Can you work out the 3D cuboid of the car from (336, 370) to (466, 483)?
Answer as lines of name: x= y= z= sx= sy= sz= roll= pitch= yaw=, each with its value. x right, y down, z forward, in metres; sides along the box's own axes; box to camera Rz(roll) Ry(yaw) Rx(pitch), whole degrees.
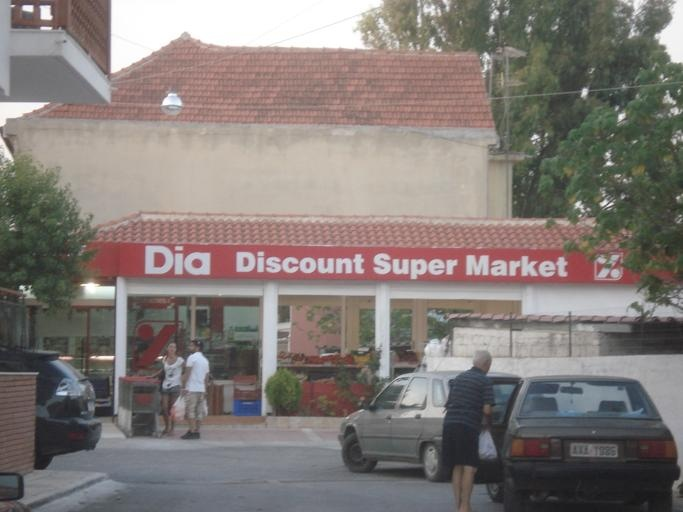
car: x=1.329 y=3.616 z=26.069 sx=1.650 sy=1.644 sz=2.787 roll=4 pitch=-3 yaw=-37

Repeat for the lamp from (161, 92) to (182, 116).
lamp: x=-5.489 y=-4.968 z=38.632 sx=0.635 sy=0.491 sz=0.946 roll=-1 pitch=-8 yaw=-9

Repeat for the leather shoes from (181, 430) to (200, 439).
leather shoes: x=-3.903 y=4.570 z=30.886 sx=0.496 sy=0.227 sz=0.188 roll=2 pitch=-2 yaw=-7

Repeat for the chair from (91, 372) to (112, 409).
chair: x=-6.616 y=3.748 z=33.178 sx=0.756 sy=1.008 sz=1.438 roll=-1 pitch=-4 yaw=-2

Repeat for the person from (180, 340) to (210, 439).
person: x=-3.776 y=3.397 z=30.805 sx=0.641 sy=2.547 sz=0.681 roll=1 pitch=-8 yaw=-9
